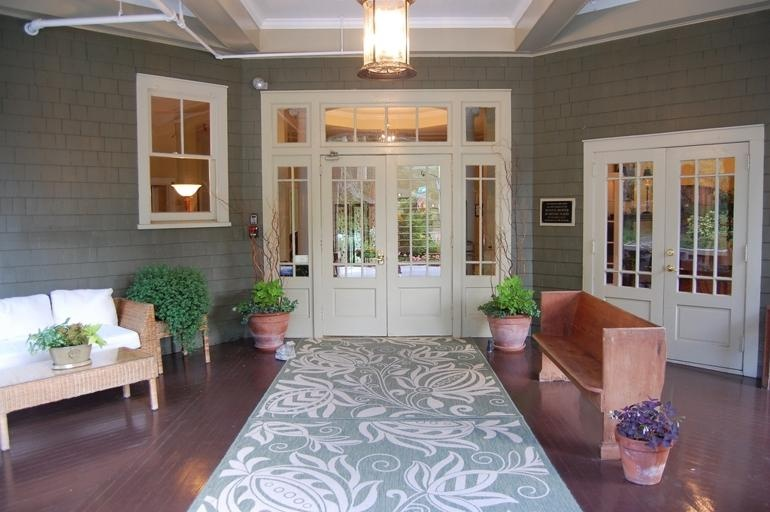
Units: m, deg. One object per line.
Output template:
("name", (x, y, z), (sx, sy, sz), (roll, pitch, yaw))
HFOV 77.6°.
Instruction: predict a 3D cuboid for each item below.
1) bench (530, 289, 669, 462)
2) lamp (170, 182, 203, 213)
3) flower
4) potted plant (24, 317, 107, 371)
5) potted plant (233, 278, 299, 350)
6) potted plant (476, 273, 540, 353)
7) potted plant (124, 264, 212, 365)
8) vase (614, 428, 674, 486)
("bench", (2.190, 1.271, 4.962), (0.496, 0.743, 1.463), (-1, 4, -2))
("lamp", (-3.058, -0.919, 7.378), (0.413, 0.409, 0.403), (2, 3, 17))
("flower", (2.303, 1.427, 4.182), (0.489, 0.254, 0.470), (2, -1, 0))
("potted plant", (-3.436, 0.913, 5.180), (0.659, 0.375, 0.567), (-5, 5, -25))
("potted plant", (-1.810, 0.915, 7.602), (1.177, 1.113, 0.998), (0, -2, -16))
("potted plant", (1.914, 0.852, 7.508), (1.094, 1.167, 1.048), (1, 2, 28))
("potted plant", (-2.933, 0.732, 6.982), (1.201, 1.317, 1.200), (-1, 7, -8))
("vase", (2.214, 1.744, 4.136), (0.459, 0.338, 0.444), (0, -8, 13))
